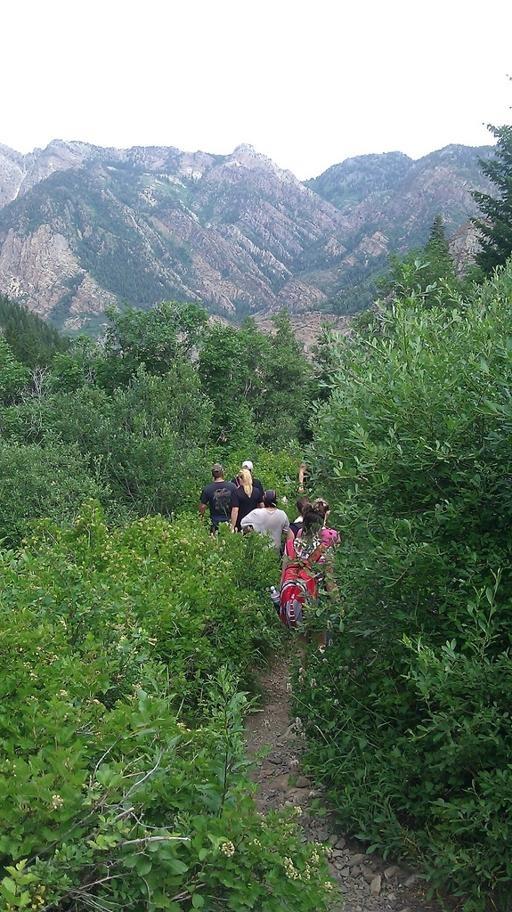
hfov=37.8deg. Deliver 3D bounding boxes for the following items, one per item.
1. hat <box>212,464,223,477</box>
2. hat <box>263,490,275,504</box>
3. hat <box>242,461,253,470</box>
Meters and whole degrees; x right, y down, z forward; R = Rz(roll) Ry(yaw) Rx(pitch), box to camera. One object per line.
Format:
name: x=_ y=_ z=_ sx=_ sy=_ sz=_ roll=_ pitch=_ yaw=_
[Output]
hat: x=-0.604 y=0.215 z=11.268 sx=0.148 sy=0.181 sz=0.178 roll=1 pitch=-49 yaw=5
hat: x=0.173 y=0.526 z=9.511 sx=0.147 sy=0.167 sz=0.166 roll=7 pitch=-9 yaw=-3
hat: x=-0.145 y=0.160 z=12.072 sx=0.121 sy=0.136 sz=0.173 roll=4 pitch=12 yaw=9
